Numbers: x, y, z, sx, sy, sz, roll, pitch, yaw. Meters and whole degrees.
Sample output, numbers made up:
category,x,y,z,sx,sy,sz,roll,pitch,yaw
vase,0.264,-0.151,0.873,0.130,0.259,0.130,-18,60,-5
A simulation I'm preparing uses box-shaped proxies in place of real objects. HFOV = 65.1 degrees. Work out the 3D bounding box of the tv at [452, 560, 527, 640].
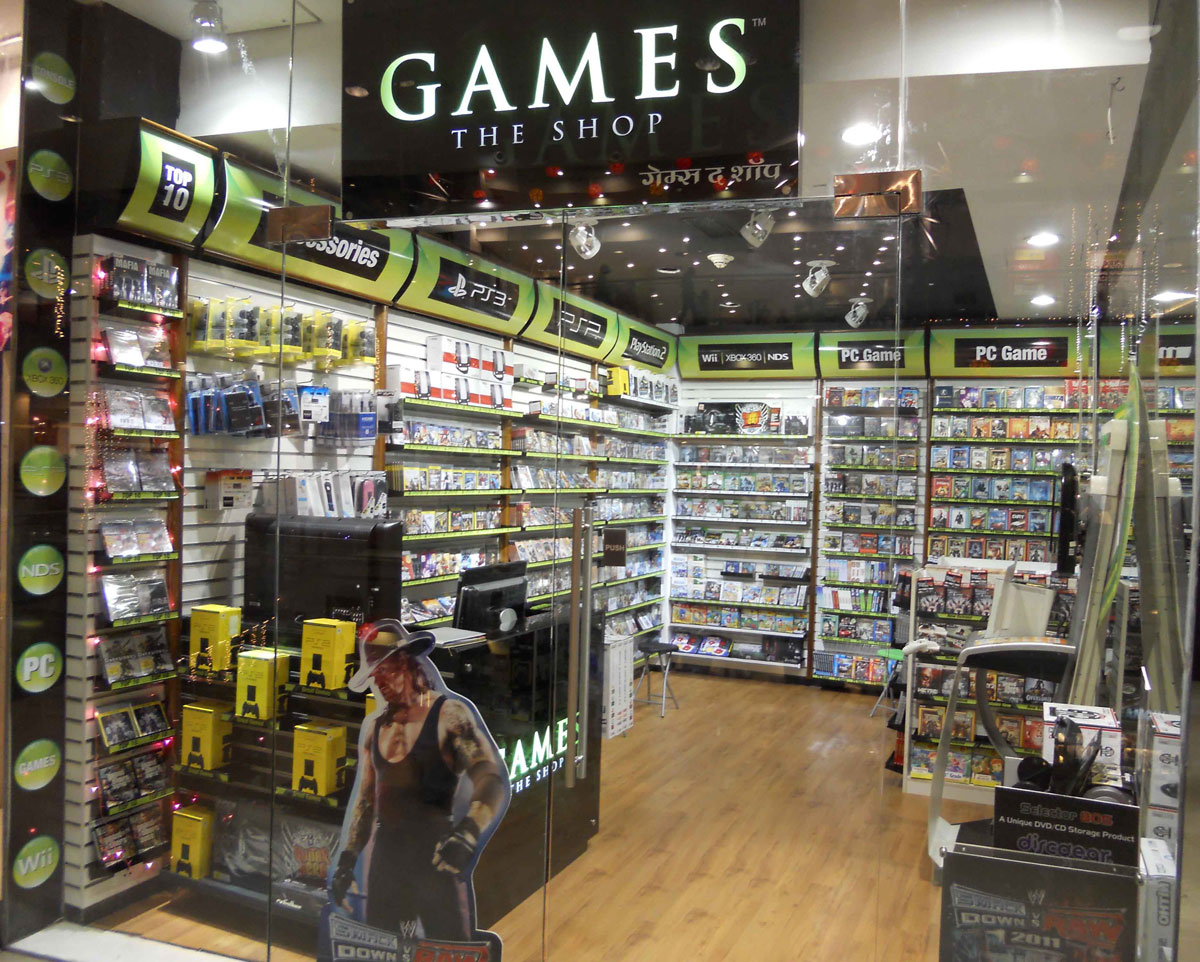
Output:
category,x,y,z,sx,sy,sz,roll,pitch,yaw
tv,-0.411,0.452,3.542,0.274,0.267,0.099,0,8,-8

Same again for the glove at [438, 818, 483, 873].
category,x,y,z,sx,sy,sz,roll,pitch,yaw
glove,-0.519,1.341,3.452,0.141,0.196,0.089,8,-41,5

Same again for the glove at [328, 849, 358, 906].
category,x,y,z,sx,sy,sz,roll,pitch,yaw
glove,-0.980,1.489,3.562,0.057,0.189,0.129,12,-7,-41

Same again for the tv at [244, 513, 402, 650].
category,x,y,z,sx,sy,sz,roll,pitch,yaw
tv,-1.054,0.383,3.655,0.495,0.480,0.166,2,3,14
